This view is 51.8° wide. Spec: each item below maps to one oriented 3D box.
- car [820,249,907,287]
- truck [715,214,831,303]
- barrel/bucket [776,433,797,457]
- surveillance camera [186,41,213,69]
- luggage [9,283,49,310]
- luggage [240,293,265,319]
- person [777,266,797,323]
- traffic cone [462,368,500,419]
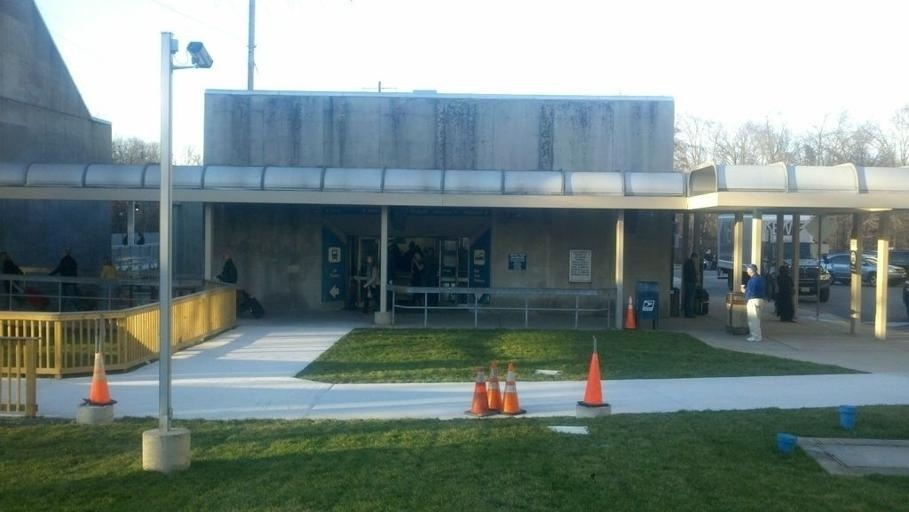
[{"bbox_3d":[22.680,0.659,51.583,3.914,1.844,3.967,-3,-2,28],"label":"car"},{"bbox_3d":[16.785,-0.197,48.739,2.905,4.150,9.069,-1,6,4],"label":"truck"},{"bbox_3d":[8.205,4.614,23.196,0.500,0.347,0.426,-1,4,1],"label":"barrel/bucket"},{"bbox_3d":[-6.359,-5.014,23.394,0.524,0.479,0.359,-2,-1,-18],"label":"surveillance camera"},{"bbox_3d":[-16.666,1.477,37.026,1.529,1.531,0.346,6,-44,-25],"label":"luggage"},{"bbox_3d":[-7.825,1.818,35.737,0.744,0.742,1.193,-2,-2,-35],"label":"luggage"},{"bbox_3d":[12.879,1.381,36.359,0.670,2.171,0.771,-3,-1,9],"label":"person"},{"bbox_3d":[0.687,3.694,25.587,1.196,1.211,1.168,0,-1,-33],"label":"traffic cone"}]
